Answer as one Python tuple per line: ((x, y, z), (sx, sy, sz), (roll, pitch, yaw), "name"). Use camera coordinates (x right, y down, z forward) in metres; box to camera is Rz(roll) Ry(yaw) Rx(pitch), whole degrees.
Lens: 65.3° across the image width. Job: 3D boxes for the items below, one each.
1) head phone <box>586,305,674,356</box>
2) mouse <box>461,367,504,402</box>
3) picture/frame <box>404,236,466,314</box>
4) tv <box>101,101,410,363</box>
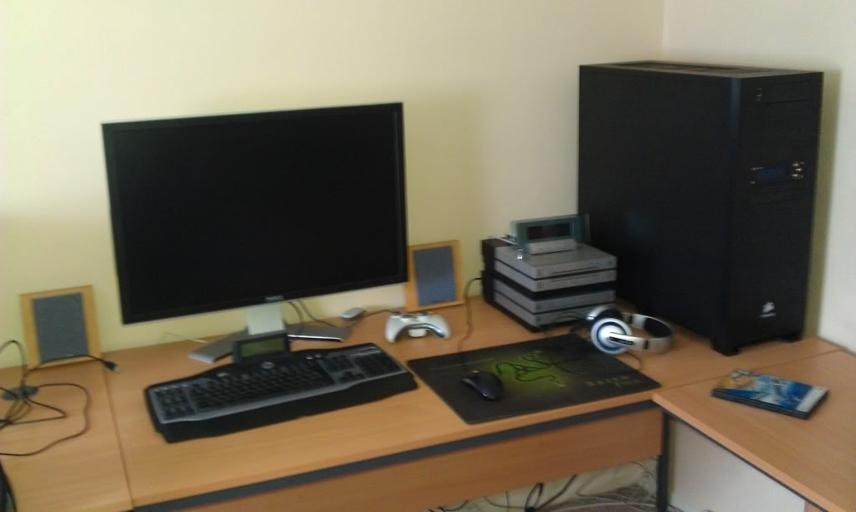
((0.687, 0.253, 2.276), (0.283, 0.104, 0.240), (2, 17, -16), "head phone")
((0.176, 0.394, 2.077), (0.080, 0.031, 0.102), (-8, 31, -41), "mouse")
((0.023, 0.077, 2.543), (0.252, 0.248, 0.028), (-7, 4, -38), "picture/frame")
((-0.583, -0.098, 2.190), (0.928, 0.679, 0.209), (-7, 16, -21), "tv")
